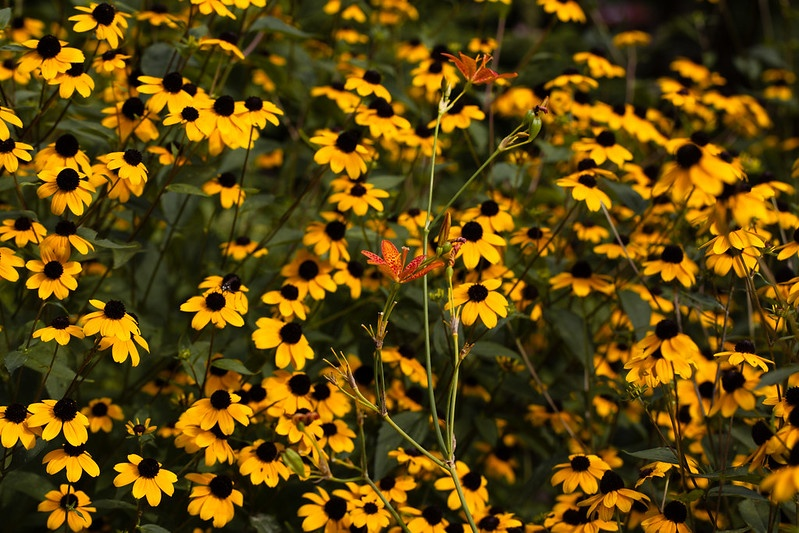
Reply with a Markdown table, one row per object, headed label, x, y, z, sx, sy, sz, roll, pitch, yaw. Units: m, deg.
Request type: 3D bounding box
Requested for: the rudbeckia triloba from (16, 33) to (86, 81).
| label | x | y | z | sx | sy | sz | roll | pitch | yaw |
| --- | --- | --- | --- | --- | --- | --- | --- | --- | --- |
| rudbeckia triloba | -1.303 | -0.790 | 3.318 | 0.181 | 0.203 | 0.070 | -19 | -13 | -20 |
